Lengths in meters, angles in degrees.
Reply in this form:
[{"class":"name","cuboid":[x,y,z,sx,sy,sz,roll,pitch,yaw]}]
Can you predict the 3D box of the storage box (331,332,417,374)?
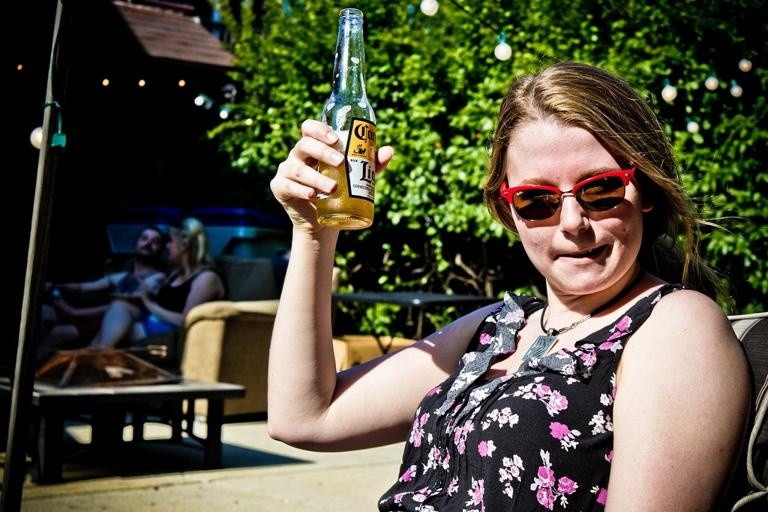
[{"class":"storage box","cuboid":[-0.187,0.777,7.342,0.590,0.352,0.567,0,-2,-15]}]
